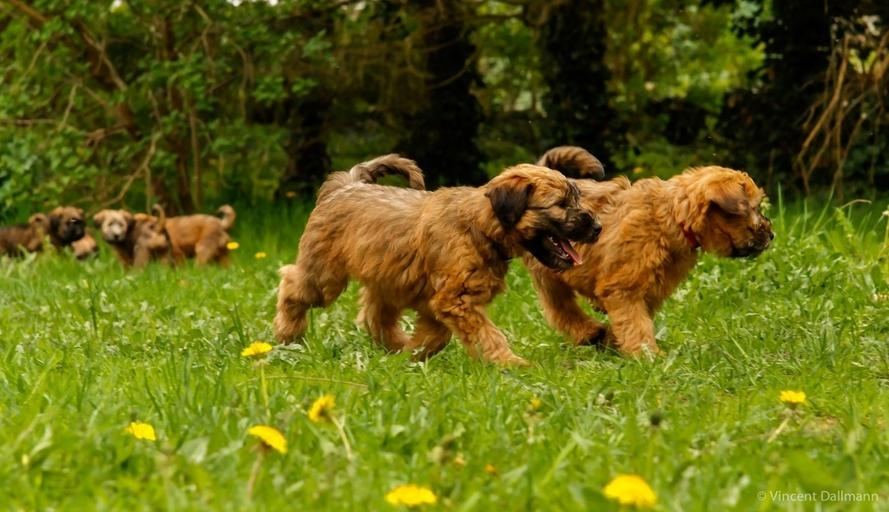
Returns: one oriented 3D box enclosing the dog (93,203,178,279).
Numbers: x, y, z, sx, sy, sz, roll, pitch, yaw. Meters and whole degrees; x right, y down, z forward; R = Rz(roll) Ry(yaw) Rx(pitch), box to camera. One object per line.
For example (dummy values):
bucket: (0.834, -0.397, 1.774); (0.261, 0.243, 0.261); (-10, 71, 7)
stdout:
dog: (-3.417, -0.229, 10.365); (0.740, 0.754, 0.399); (6, 10, -1)

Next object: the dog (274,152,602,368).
dog: (-0.138, 0.052, 7.382); (2.620, 1.660, 0.809); (1, 1, 30)

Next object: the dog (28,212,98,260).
dog: (-4.379, -0.299, 10.829); (0.784, 0.554, 0.364); (10, 11, 20)
